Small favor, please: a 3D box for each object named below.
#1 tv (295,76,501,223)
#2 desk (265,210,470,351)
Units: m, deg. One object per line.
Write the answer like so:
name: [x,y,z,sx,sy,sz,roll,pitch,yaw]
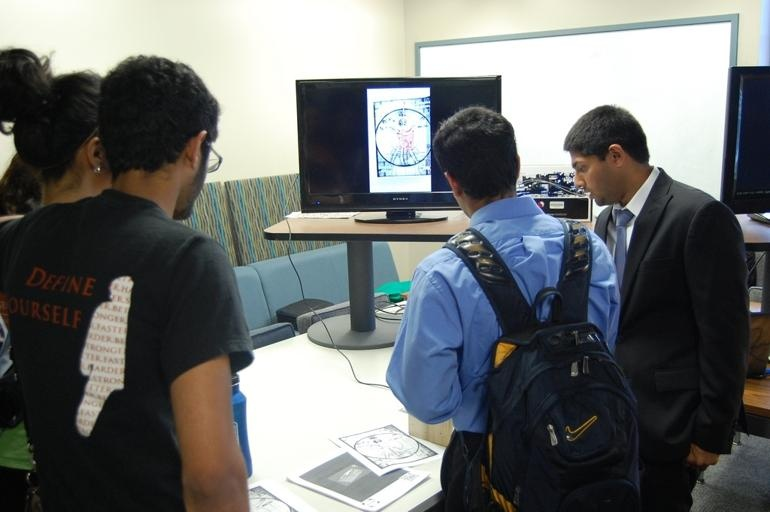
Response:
tv: [0.043,-0.424,2.248,0.635,0.450,0.168,0,14,3]
desk: [-0.074,0.094,2.575,0.687,0.415,0.692,1,9,7]
